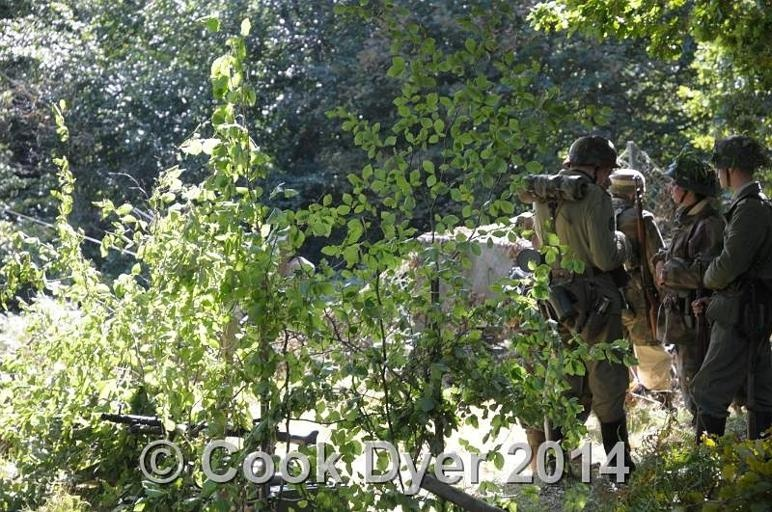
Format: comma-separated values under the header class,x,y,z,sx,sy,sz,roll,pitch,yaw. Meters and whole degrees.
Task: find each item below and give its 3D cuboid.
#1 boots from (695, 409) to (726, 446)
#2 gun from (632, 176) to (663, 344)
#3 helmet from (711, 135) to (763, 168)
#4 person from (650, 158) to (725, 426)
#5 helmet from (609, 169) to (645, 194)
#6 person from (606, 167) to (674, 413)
class,x,y,z,sx,sy,sz,roll,pitch,yaw
boots,4.189,2.156,17.538,0.402,0.627,0.358,-1,-6,34
gun,3.554,0.112,18.515,0.416,2.399,0.166,-12,7,-18
helmet,4.593,-1.365,17.758,0.397,0.435,0.516,1,1,-24
person,4.021,0.475,18.423,0.829,3.578,1.262,3,13,10
helmet,3.240,-1.056,18.334,0.423,0.337,0.308,-19,22,-22
person,3.444,0.349,18.747,0.963,3.061,0.964,1,-2,-40
